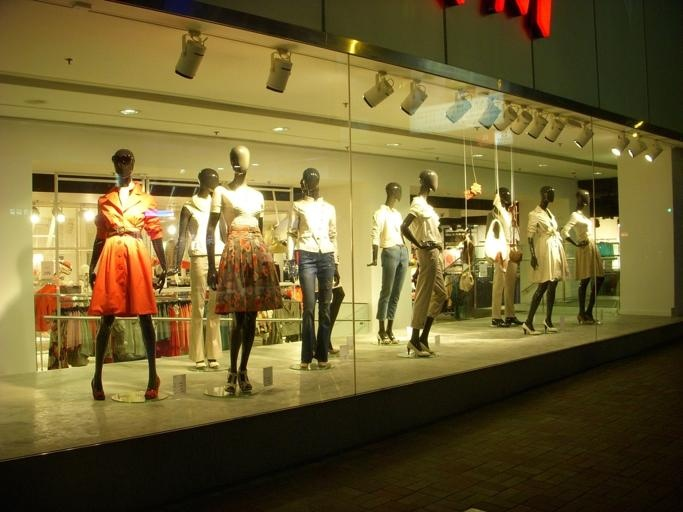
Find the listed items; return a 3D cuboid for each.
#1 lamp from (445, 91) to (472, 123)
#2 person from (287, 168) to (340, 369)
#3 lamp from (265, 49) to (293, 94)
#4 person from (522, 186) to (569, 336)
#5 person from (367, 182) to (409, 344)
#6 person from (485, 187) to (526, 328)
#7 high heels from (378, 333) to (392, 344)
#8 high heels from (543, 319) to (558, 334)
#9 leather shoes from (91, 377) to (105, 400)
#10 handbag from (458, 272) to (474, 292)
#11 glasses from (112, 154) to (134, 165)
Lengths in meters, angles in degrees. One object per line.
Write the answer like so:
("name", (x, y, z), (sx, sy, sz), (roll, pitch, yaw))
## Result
("lamp", (0.982, -1.234, 4.232), (0.307, 0.251, 0.062), (-2, 0, -43))
("person", (-0.193, 0.089, 3.468), (0.325, 1.093, 0.406), (-1, 0, -4))
("lamp", (-0.406, -1.178, 3.231), (0.142, 0.249, 0.151), (7, 18, -11))
("person", (2.140, 0.027, 5.311), (0.240, 1.579, 0.956), (-2, 0, 34))
("person", (0.364, 0.059, 3.698), (0.129, 1.025, 0.496), (-2, 0, 32))
("person", (1.532, 0.024, 4.740), (0.192, 1.263, 0.842), (-2, 0, 28))
("high heels", (0.304, 0.603, 3.630), (0.061, 0.054, 0.110), (2, -11, -27))
("high heels", (2.134, 0.725, 5.179), (0.198, 0.137, 0.065), (-2, 0, -40))
("leather shoes", (-1.273, 0.705, 2.643), (0.045, 0.131, 0.043), (-7, 1, 43))
("handbag", (1.044, 0.216, 4.297), (0.150, 0.204, 0.091), (-5, 10, -31))
("glasses", (-1.166, -0.512, 2.698), (0.109, 0.046, 0.016), (-2, 0, -35))
